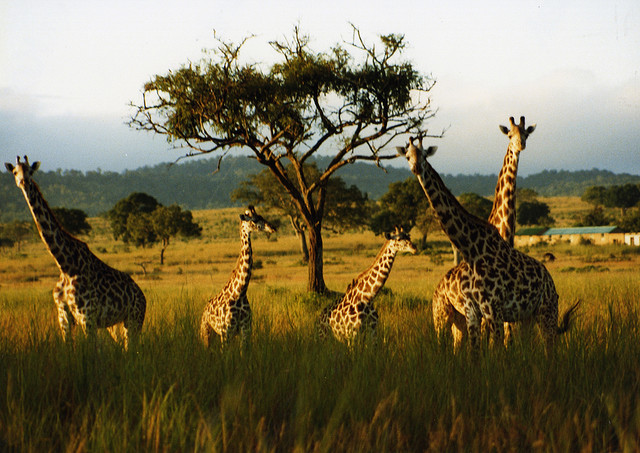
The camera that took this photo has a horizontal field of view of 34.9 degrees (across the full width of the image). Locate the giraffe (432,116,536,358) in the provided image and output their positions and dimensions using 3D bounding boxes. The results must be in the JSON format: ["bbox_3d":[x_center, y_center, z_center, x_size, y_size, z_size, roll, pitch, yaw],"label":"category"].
[{"bbox_3d":[6.994,0.585,39.989,3.889,14.813,5.802,1,1,3],"label":"giraffe"}]

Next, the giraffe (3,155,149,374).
[{"bbox_3d":[-9.164,1.008,38.878,4.391,7.133,3.531,-3,7,-3],"label":"giraffe"}]

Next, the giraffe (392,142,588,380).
[{"bbox_3d":[7.887,2.194,48.780,12.665,13.224,3.851,12,-18,-19],"label":"giraffe"}]
